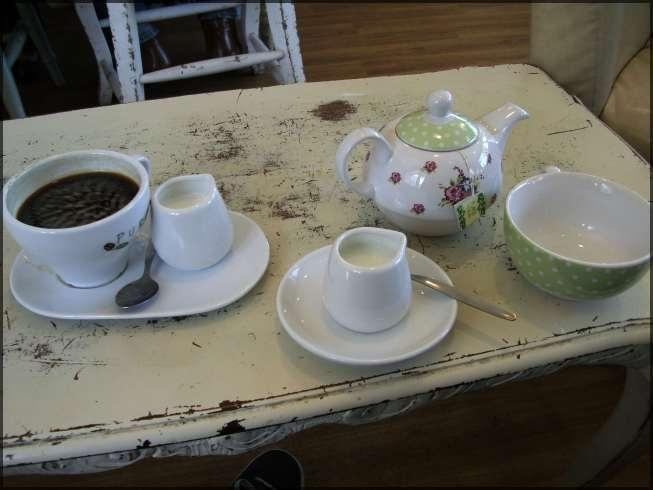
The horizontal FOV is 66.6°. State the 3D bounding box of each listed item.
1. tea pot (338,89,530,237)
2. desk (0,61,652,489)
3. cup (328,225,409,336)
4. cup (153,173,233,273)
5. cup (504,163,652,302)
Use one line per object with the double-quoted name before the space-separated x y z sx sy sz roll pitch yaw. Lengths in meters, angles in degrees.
"tea pot" 0.164 -0.134 0.849 0.291 0.197 0.203 -14 49 -5
"desk" -0.100 0.257 1.319 1.342 0.650 0.827 -10 59 -7
"cup" 0.057 0.049 0.717 0.130 0.116 0.128 -1 36 1
"cup" -0.203 -0.034 0.796 0.112 0.103 0.152 -4 47 -4
"cup" 0.370 0.020 0.815 0.208 0.125 0.211 -2 47 2
